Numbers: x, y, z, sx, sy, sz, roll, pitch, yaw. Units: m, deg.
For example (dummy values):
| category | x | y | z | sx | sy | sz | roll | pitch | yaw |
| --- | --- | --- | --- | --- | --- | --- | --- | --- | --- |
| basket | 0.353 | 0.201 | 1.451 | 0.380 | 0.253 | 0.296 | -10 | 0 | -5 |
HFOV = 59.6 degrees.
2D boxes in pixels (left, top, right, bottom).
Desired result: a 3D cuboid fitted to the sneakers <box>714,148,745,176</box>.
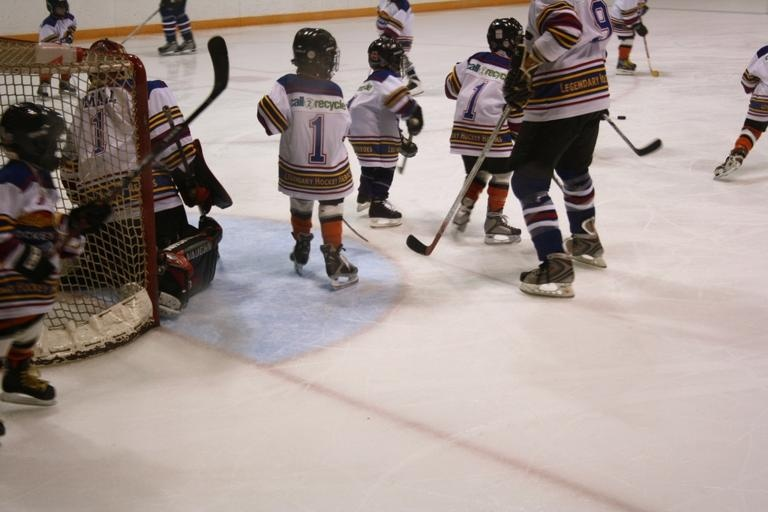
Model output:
| category | x | y | z | sx | sy | sz | roll | pitch | yaw |
| --- | --- | --- | --- | --- | --- | --- | --- | --- | --- |
| sneakers | 2.656 | -0.701 | 5.151 | 0.107 | 0.269 | 0.188 | 48 | 18 | -8 |

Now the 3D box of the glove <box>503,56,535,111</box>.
| category | x | y | z | sx | sy | sz | roll | pitch | yaw |
| --- | --- | --- | --- | --- | --- | --- | --- | --- | --- |
| glove | 0.694 | -0.881 | 3.458 | 0.128 | 0.255 | 0.102 | -1 | 24 | -7 |

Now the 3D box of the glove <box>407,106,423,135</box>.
| category | x | y | z | sx | sy | sz | roll | pitch | yaw |
| --- | --- | --- | --- | --- | --- | --- | --- | --- | --- |
| glove | 0.190 | -0.813 | 4.083 | 0.155 | 0.150 | 0.074 | 2 | 26 | -3 |

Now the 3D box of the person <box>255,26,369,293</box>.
| category | x | y | z | sx | sy | sz | roll | pitch | yaw |
| --- | --- | --- | --- | --- | --- | --- | --- | --- | --- |
| person | -0.399 | -0.510 | 3.510 | 0.505 | 1.296 | 0.629 | -2 | 24 | -9 |

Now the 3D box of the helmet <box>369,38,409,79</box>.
| category | x | y | z | sx | sy | sz | roll | pitch | yaw |
| --- | --- | --- | --- | --- | --- | --- | --- | --- | --- |
| helmet | 0.013 | -1.248 | 4.240 | 0.210 | 0.232 | 0.276 | 1 | 20 | -2 |
